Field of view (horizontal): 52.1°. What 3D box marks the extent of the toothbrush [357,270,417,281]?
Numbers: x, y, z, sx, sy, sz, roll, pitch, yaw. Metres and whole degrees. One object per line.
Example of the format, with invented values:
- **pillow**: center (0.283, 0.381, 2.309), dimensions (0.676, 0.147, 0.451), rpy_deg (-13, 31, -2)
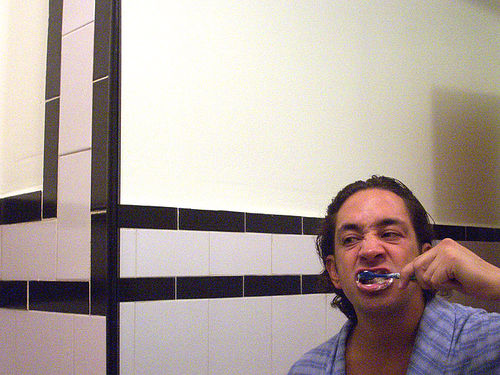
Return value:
- **toothbrush**: center (0.300, 0.189, 1.106), dimensions (0.093, 0.029, 0.022), rpy_deg (0, -20, 13)
